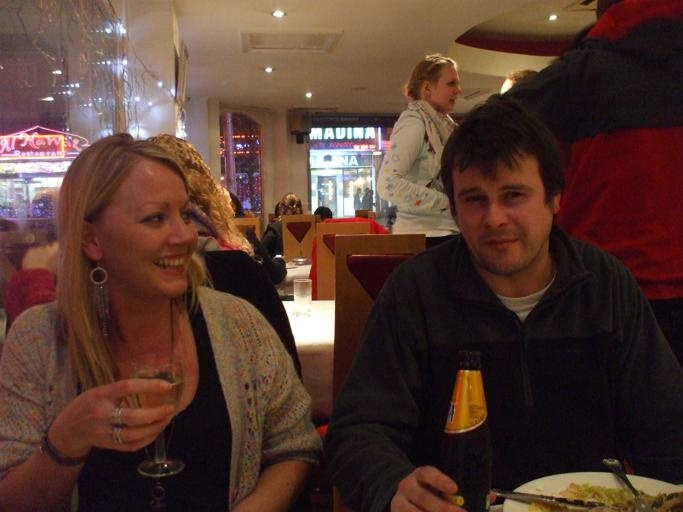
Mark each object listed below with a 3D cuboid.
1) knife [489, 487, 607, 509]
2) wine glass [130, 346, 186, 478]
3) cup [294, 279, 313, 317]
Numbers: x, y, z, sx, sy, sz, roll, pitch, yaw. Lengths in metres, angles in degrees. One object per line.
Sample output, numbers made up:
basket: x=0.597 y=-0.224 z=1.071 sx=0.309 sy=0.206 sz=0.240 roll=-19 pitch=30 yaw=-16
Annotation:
knife: x=0.466 y=0.546 z=1.246 sx=0.281 sy=0.031 sz=0.030 roll=8 pitch=-5 yaw=-8
wine glass: x=-0.493 y=0.462 z=1.511 sx=0.129 sy=0.375 sz=0.285 roll=-3 pitch=6 yaw=-20
cup: x=-0.220 y=0.241 z=3.139 sx=0.147 sy=0.190 sz=0.150 roll=0 pitch=0 yaw=0
